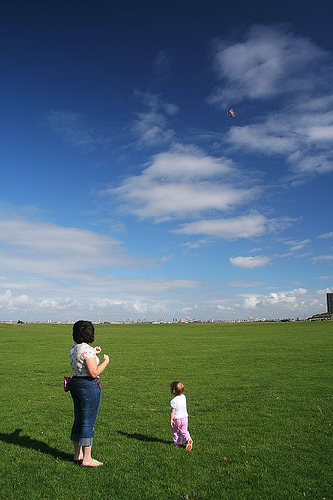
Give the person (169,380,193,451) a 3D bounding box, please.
[{"bbox_3d":[0.301,4.099,8.979,0.480,1.587,0.693,1,-8,-10],"label":"person"}]
